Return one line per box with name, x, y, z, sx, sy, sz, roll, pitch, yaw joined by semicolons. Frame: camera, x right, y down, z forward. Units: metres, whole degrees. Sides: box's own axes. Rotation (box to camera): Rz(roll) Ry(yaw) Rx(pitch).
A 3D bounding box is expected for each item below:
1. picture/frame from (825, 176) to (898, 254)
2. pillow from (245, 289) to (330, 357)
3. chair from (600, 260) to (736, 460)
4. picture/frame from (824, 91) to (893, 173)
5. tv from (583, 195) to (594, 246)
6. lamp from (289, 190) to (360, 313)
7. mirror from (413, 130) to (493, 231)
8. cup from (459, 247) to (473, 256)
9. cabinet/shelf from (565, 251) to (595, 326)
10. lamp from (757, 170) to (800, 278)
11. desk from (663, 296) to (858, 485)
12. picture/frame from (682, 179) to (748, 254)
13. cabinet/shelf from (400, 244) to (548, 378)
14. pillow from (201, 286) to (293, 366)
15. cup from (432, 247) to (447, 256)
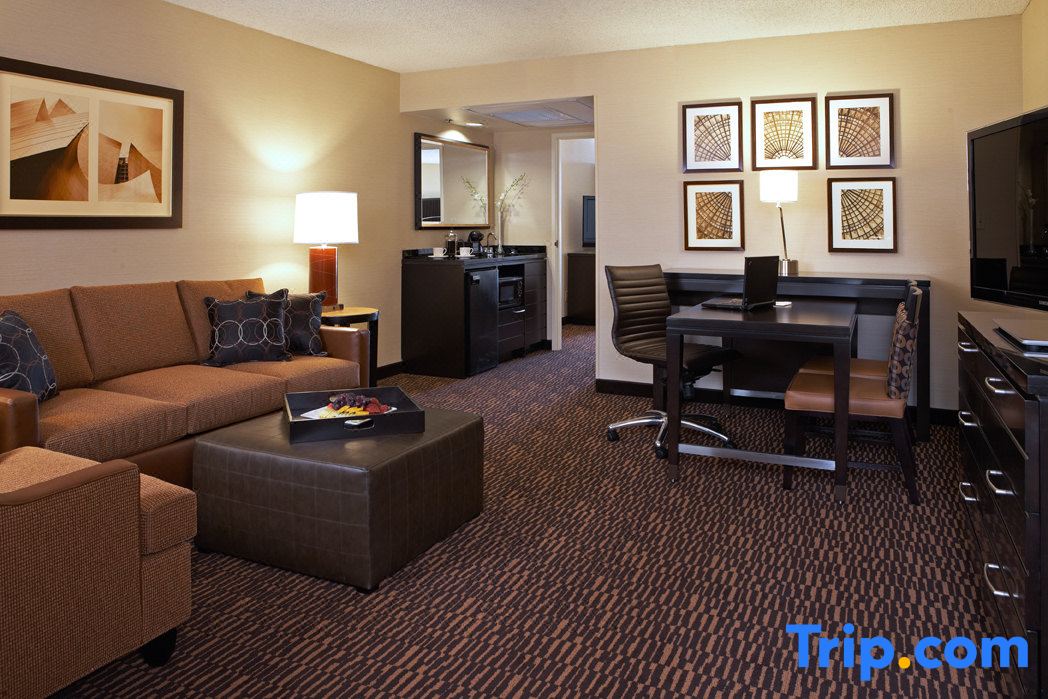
picture/frame;2.605;-1.040;5.354;0.633;0.744;0.055;0;6;20
pillow;-1.737;-0.158;5.055;0.542;0.513;0.191;0;-9;-10
chair;1.084;0.026;4.968;0.876;1.235;0.936;6;11;42
picture/frame;2.557;-1.669;5.311;0.639;0.725;0.056;3;9;29
tv;0.911;-1.805;9.874;0.233;0.720;0.128;-11;15;-31
lamp;-1.654;-0.769;5.783;0.581;0.885;0.562;-1;-1;31
mirror;-0.863;-1.763;7.425;0.102;0.943;1.600;5;10;35
cup;-0.626;-1.051;7.542;0.123;0.084;0.095;2;1;-8
cabinet/shelf;0.774;-0.857;9.921;0.427;1.039;0.259;-1;13;7
lamp;1.955;-0.991;5.418;0.302;0.764;0.511;2;14;18
desk;1.798;0.079;4.977;1.072;1.052;1.917;3;18;26
picture/frame;1.580;-1.107;5.724;0.630;0.692;0.053;2;6;15
cabinet/shelf;-0.455;-0.527;7.686;0.811;1.228;2.099;6;11;21
pillow;-1.885;-0.142;4.825;0.577;0.546;0.210;-5;-12;-9
cup;-0.863;-0.999;7.109;0.100;0.068;0.075;3;2;-7
